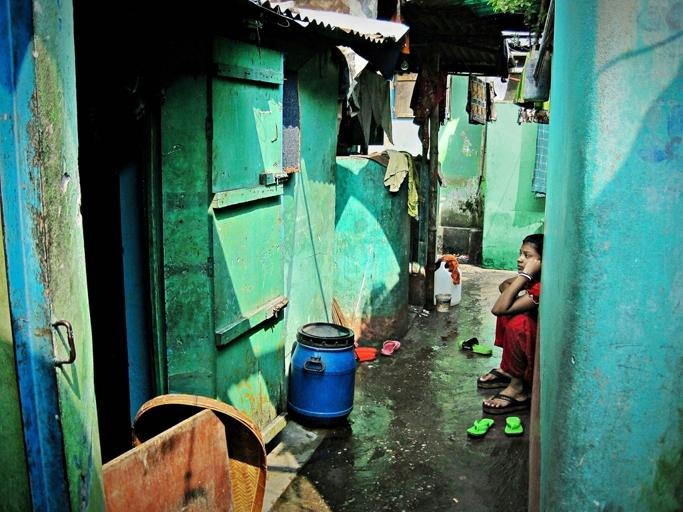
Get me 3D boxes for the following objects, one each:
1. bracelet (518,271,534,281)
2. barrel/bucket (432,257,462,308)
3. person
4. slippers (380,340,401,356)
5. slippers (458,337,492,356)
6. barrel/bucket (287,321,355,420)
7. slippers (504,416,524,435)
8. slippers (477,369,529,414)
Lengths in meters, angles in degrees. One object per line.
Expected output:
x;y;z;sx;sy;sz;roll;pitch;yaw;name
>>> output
1.736;0.178;5.176;0.068;0.040;0.101;23;8;-4;bracelet
1.674;0.348;8.714;0.381;0.871;0.640;4;12;18;barrel/bucket
1.634;0.607;5.381;0.505;1.760;0.774;4;12;15;person
0.613;1.112;6.863;0.196;0.103;0.411;6;13;22;slippers
1.691;1.136;6.888;0.306;0.145;0.191;12;12;39;slippers
-0.169;1.059;5.129;0.576;1.004;0.748;1;-2;10;barrel/bucket
1.561;1.539;4.980;0.159;0.092;0.203;6;13;22;slippers
1.634;1.317;5.396;0.388;0.107;0.309;-4;8;-20;slippers
